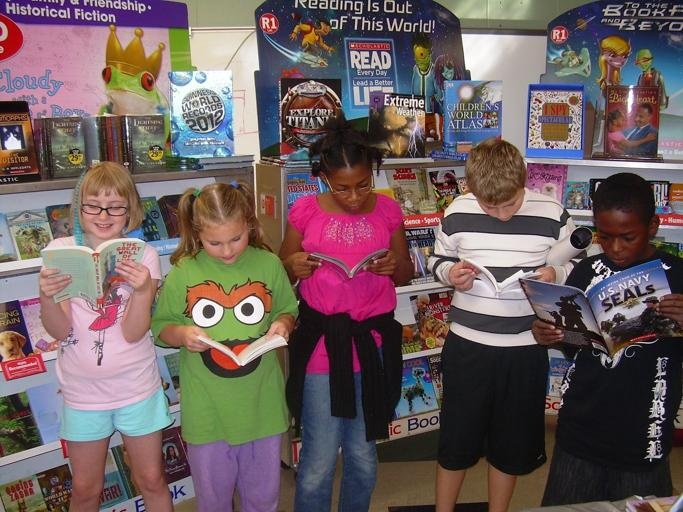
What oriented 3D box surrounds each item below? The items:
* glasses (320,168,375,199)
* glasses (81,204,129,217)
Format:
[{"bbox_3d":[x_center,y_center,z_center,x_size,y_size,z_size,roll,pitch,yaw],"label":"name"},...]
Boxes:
[{"bbox_3d":[0.021,-0.330,2.204,0.221,0.138,0.164,-2,14,6],"label":"glasses"},{"bbox_3d":[-0.970,-0.192,2.044,0.164,0.064,0.044,-10,15,-23],"label":"glasses"}]
